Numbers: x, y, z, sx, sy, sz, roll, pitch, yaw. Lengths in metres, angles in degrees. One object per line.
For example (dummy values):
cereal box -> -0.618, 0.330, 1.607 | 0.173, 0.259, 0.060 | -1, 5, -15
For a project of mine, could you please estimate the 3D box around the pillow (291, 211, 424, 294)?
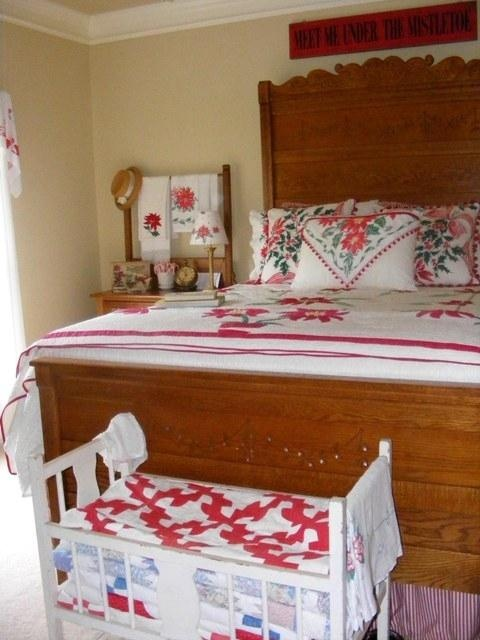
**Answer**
pillow -> 0.514, -0.273, 2.333 | 0.401, 0.255, 0.136 | 2, -32, 23

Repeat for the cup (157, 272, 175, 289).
cup -> -0.468, -0.248, 3.539 | 0.114, 0.098, 0.098 | -1, 9, -1

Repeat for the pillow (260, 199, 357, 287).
pillow -> 0.342, -0.340, 2.860 | 0.494, 0.431, 0.147 | -7, -20, 39

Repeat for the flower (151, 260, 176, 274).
flower -> -0.480, -0.333, 3.588 | 0.108, 0.040, 0.104 | -1, 15, 3

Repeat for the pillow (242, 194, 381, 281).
pillow -> 0.241, -0.413, 2.877 | 0.533, 0.510, 0.142 | 5, -3, 17

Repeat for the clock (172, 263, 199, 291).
clock -> -0.351, -0.276, 3.552 | 0.168, 0.189, 0.166 | 7, 14, 30

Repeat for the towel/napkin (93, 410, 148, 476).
towel/napkin -> -0.324, 0.334, 1.434 | 0.061, 0.172, 0.142 | 6, 19, 34

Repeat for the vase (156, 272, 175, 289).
vase -> -0.477, -0.249, 3.539 | 0.112, 0.093, 0.097 | -2, 12, -11
